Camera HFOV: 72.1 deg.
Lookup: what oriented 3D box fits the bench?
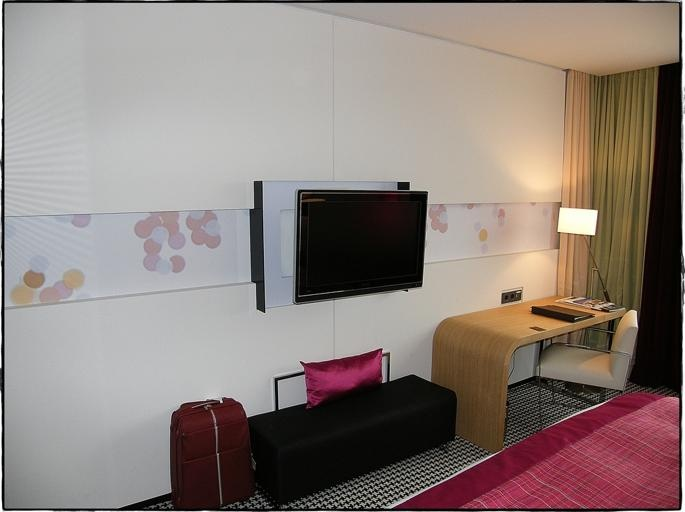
[{"bbox_3d":[0.079,1.154,3.070,1.342,0.461,0.357,-4,9,-25],"label":"bench"}]

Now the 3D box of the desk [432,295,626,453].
[{"bbox_3d":[1.562,0.880,3.933,1.619,0.870,0.665,-7,13,-36],"label":"desk"}]

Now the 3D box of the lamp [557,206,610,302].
[{"bbox_3d":[2.238,-0.023,4.374,0.464,0.856,0.622,4,10,28],"label":"lamp"}]

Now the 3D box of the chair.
[{"bbox_3d":[1.926,0.887,3.729,0.681,0.942,0.705,-11,14,-44],"label":"chair"}]
